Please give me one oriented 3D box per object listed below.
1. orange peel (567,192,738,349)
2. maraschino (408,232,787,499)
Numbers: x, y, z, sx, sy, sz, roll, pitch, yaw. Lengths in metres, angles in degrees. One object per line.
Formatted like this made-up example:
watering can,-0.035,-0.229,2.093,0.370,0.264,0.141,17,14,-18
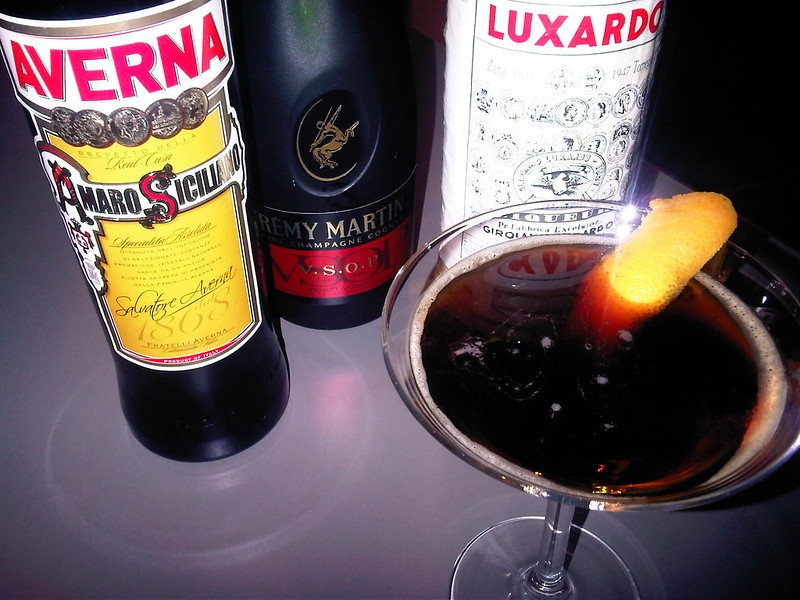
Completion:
orange peel,0.245,-0.036,0.678,0.154,0.155,0.133,17,29,17
maraschino,0.184,0.084,0.659,0.368,0.123,0.365,3,36,19
